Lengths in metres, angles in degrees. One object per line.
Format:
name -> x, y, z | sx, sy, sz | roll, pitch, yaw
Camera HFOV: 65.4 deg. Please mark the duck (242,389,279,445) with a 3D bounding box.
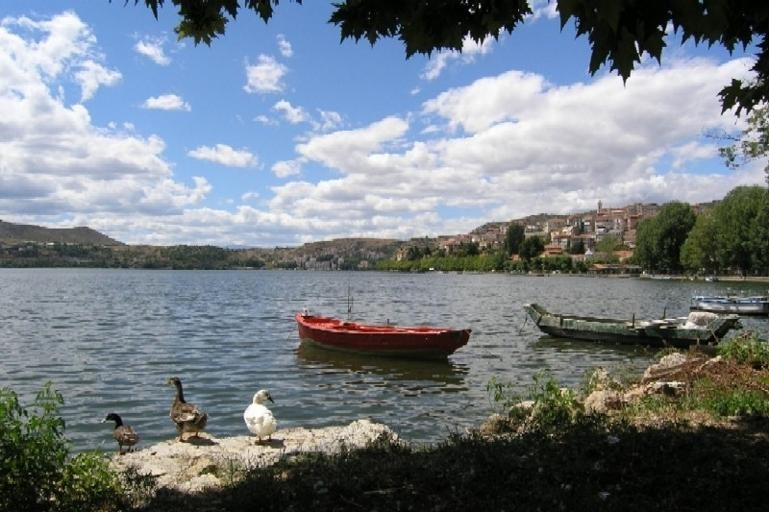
duck -> -3.698, 4.828, 17.571 | 1.078, 1.356, 1.810 | -2, 17, -17
